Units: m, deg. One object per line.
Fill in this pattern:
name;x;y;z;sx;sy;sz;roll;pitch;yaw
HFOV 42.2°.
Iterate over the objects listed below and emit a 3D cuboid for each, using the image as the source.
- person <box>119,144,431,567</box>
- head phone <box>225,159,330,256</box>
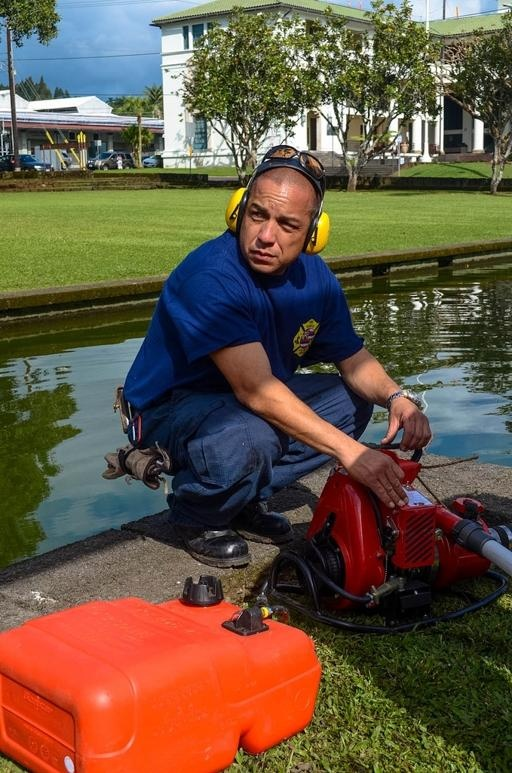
person;0.056;-0.069;1.907;0.873;1.208;0.823;-5;13;-12
head phone;0.079;-0.541;1.895;0.311;0.264;0.136;16;30;-1
